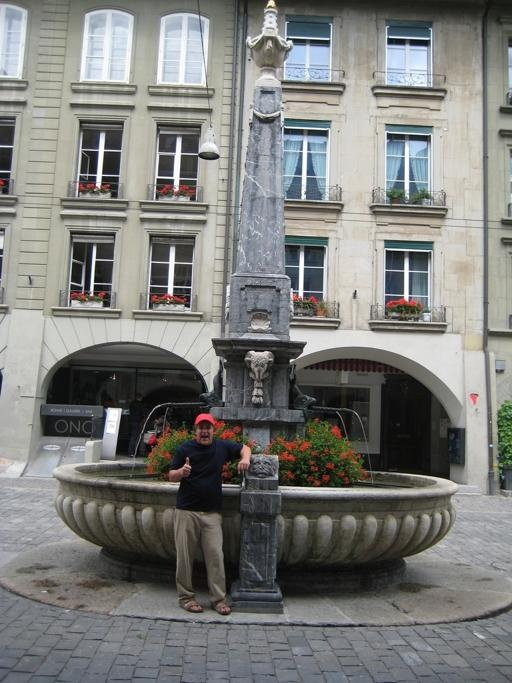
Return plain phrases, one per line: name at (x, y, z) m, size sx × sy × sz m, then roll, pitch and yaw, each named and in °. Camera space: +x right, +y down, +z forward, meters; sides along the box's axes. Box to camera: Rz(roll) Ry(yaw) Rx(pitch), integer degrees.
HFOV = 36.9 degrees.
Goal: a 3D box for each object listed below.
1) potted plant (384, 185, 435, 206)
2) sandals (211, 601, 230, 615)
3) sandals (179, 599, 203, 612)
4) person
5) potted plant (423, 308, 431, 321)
potted plant at (3.975, -3.780, 20.219) m, size 0.782 × 0.264 × 0.654 m, roll 2°, pitch 3°, yaw -18°
sandals at (-0.250, 1.951, 5.645) m, size 0.139 × 0.086 × 0.190 m, roll 3°, pitch -1°, yaw -5°
sandals at (-0.476, 1.947, 5.659) m, size 0.176 × 0.057 × 0.143 m, roll 3°, pitch -1°, yaw -4°
person at (-0.356, 1.273, 5.713) m, size 0.569 × 1.432 × 0.303 m, roll 3°, pitch -2°, yaw -4°
potted plant at (4.436, -0.682, 19.927) m, size 0.221 × 0.407 × 0.219 m, roll 8°, pitch -16°, yaw -12°
